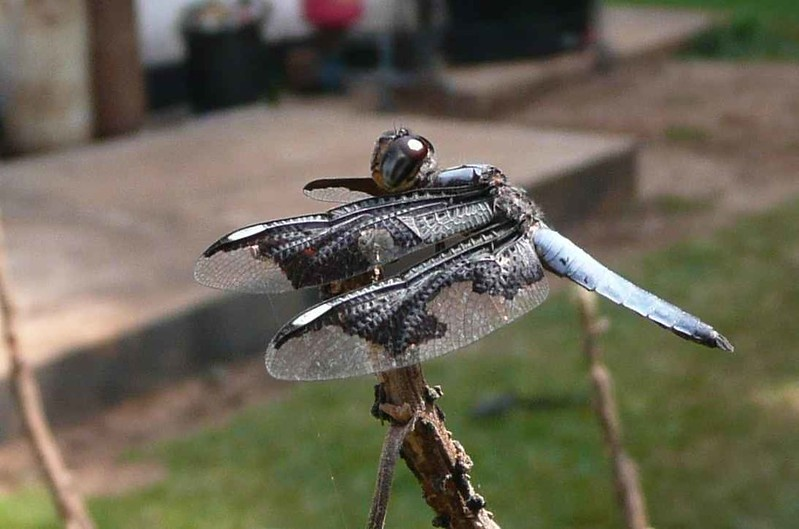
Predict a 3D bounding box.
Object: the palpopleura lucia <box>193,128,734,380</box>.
[{"bbox_3d":[0.186,-0.050,2.348,1.081,0.406,1.108,10,16,12],"label":"palpopleura lucia"}]
